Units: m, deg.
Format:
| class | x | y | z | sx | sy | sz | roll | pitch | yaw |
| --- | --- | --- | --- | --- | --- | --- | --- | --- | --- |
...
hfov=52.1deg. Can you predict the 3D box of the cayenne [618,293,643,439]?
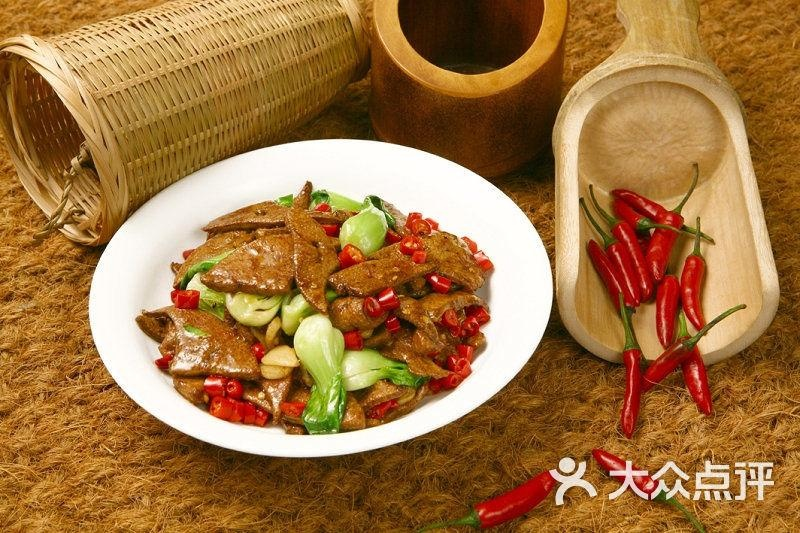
| class | x | y | z | sx | sy | sz | roll | pitch | yaw |
| --- | --- | --- | --- | --- | --- | --- | --- | --- | --- |
| cayenne | 0.810 | 0.352 | 2.931 | 0.071 | 0.079 | 0.535 | -3 | 67 | 10 |
